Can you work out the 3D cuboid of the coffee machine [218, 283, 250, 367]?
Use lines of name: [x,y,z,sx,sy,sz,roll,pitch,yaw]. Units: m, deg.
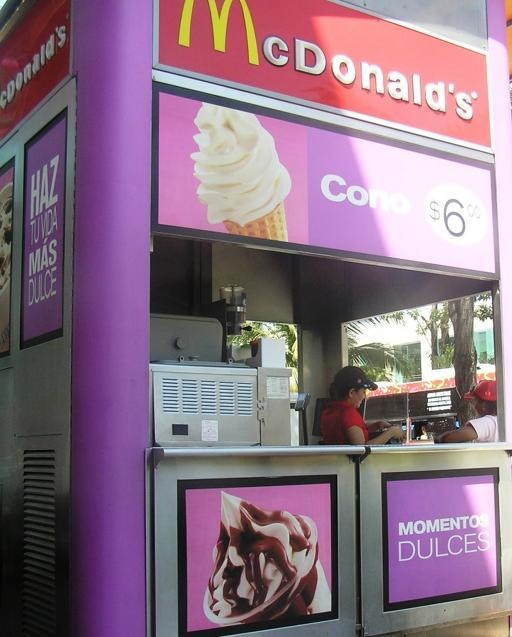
coffee machine: [-0.157,0.019,3.665,0.159,0.443,0.172,1,1,18]
